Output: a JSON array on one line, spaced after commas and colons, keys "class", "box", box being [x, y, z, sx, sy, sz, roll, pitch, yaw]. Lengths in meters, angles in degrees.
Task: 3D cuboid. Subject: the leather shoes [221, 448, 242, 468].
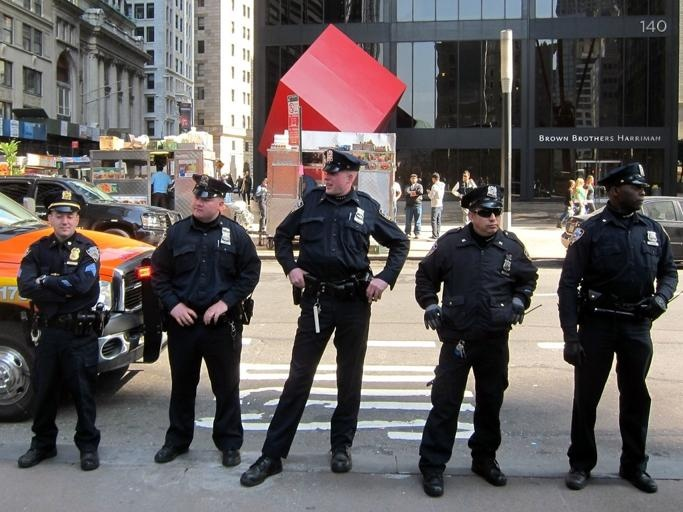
[{"class": "leather shoes", "box": [-0.970, 1.800, 8.042, 0.120, 0.106, 0.240, 1, -6, -7]}]

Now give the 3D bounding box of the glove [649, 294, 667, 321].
[{"class": "glove", "box": [2.607, 0.441, 7.744, 0.116, 0.212, 0.216, 4, 9, 24]}]

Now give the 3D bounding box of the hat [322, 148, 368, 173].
[{"class": "hat", "box": [0.007, -0.853, 8.173, 0.280, 0.123, 0.255, 1, 10, -10]}]

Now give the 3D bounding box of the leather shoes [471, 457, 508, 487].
[{"class": "leather shoes", "box": [1.208, 1.853, 7.862, 0.130, 0.171, 0.356, -9, 19, -40]}]

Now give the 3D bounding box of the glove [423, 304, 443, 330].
[{"class": "glove", "box": [0.761, 0.543, 7.912, 0.147, 0.206, 0.088, -1, 0, 28]}]

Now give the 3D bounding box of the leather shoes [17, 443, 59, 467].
[{"class": "leather shoes", "box": [-2.626, 1.776, 8.062, 0.117, 0.158, 0.364, -3, -1, 32]}]

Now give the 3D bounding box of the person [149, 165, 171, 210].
[{"class": "person", "box": [-4.478, -1.624, 22.867, 0.540, 1.419, 0.440, 1, 22, -13]}]

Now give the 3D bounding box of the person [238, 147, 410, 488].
[{"class": "person", "box": [-0.114, 0.470, 8.097, 1.367, 2.809, 0.936, -1, 8, -6]}]

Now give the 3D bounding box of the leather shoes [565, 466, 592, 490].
[{"class": "leather shoes", "box": [1.935, 1.916, 7.773, 0.138, 0.132, 0.219, 6, 11, 35]}]

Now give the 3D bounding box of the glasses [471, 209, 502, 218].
[{"class": "glasses", "box": [1.210, -0.373, 7.870, 0.236, 0.072, 0.119, 0, 9, 1]}]

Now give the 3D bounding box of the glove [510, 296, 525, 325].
[{"class": "glove", "box": [1.458, 0.493, 7.893, 0.098, 0.196, 0.149, 8, -3, 5]}]

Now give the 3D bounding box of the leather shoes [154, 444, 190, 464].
[{"class": "leather shoes", "box": [-1.501, 1.778, 8.119, 0.107, 0.109, 0.295, 0, -3, 33]}]

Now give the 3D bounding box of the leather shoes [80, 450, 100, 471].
[{"class": "leather shoes", "box": [-2.164, 1.801, 7.962, 0.159, 0.137, 0.145, -3, 9, -17]}]

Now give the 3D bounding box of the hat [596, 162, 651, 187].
[{"class": "hat", "box": [2.351, -0.689, 7.846, 0.283, 0.130, 0.248, 4, 5, 33]}]

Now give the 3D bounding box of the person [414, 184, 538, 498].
[{"class": "person", "box": [1.090, 0.848, 7.825, 0.977, 2.248, 0.819, 0, 8, 4]}]

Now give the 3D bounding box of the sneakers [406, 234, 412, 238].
[{"class": "sneakers", "box": [1.445, -0.460, 20.827, 0.126, 0.119, 0.086, -3, 2, -10]}]

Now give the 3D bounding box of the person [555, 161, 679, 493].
[{"class": "person", "box": [2.266, 0.590, 7.808, 0.945, 2.736, 0.741, 1, 8, 11]}]

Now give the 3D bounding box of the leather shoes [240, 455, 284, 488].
[{"class": "leather shoes", "box": [-0.693, 1.859, 7.849, 0.140, 0.166, 0.424, 14, 14, 38]}]

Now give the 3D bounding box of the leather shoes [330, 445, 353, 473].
[{"class": "leather shoes", "box": [-0.026, 1.789, 7.985, 0.183, 0.195, 0.224, 0, 9, -2]}]

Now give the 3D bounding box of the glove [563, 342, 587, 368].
[{"class": "glove", "box": [1.910, 0.856, 7.860, 0.149, 0.219, 0.216, 7, 5, 8]}]

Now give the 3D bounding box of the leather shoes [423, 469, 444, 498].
[{"class": "leather shoes", "box": [0.731, 1.922, 7.679, 0.172, 0.183, 0.228, 0, 9, 2]}]

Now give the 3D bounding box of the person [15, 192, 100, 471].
[{"class": "person", "box": [-2.463, 0.648, 8.056, 0.719, 2.383, 0.765, -2, 8, -13]}]
